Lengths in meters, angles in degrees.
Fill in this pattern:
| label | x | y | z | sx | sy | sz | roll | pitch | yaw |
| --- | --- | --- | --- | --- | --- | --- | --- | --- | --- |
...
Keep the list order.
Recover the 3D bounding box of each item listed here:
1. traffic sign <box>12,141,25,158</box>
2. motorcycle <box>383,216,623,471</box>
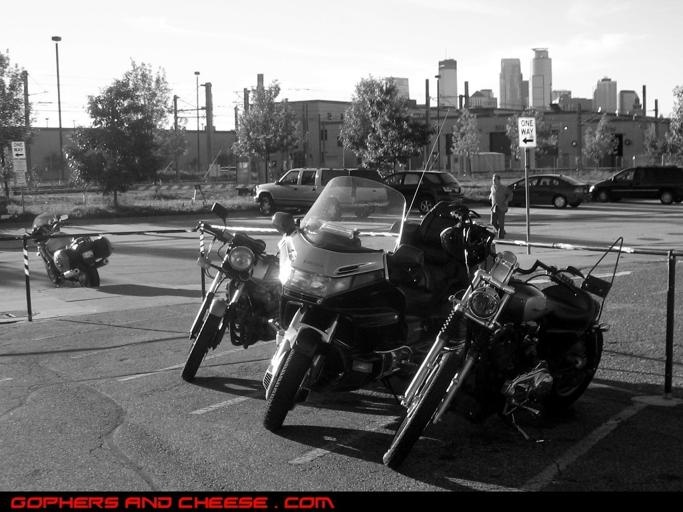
| label | x | y | z | sx | sy | sz | roll | pitch | yaw |
| --- | --- | --- | --- | --- | --- | --- | --- | --- | --- |
| traffic sign | -12.468 | -4.057 | 26.308 | 0.407 | 0.642 | 0.429 | -3 | 8 | -19 |
| motorcycle | 1.216 | 0.576 | 5.998 | 2.695 | 1.803 | 1.144 | -2 | 14 | -44 |
